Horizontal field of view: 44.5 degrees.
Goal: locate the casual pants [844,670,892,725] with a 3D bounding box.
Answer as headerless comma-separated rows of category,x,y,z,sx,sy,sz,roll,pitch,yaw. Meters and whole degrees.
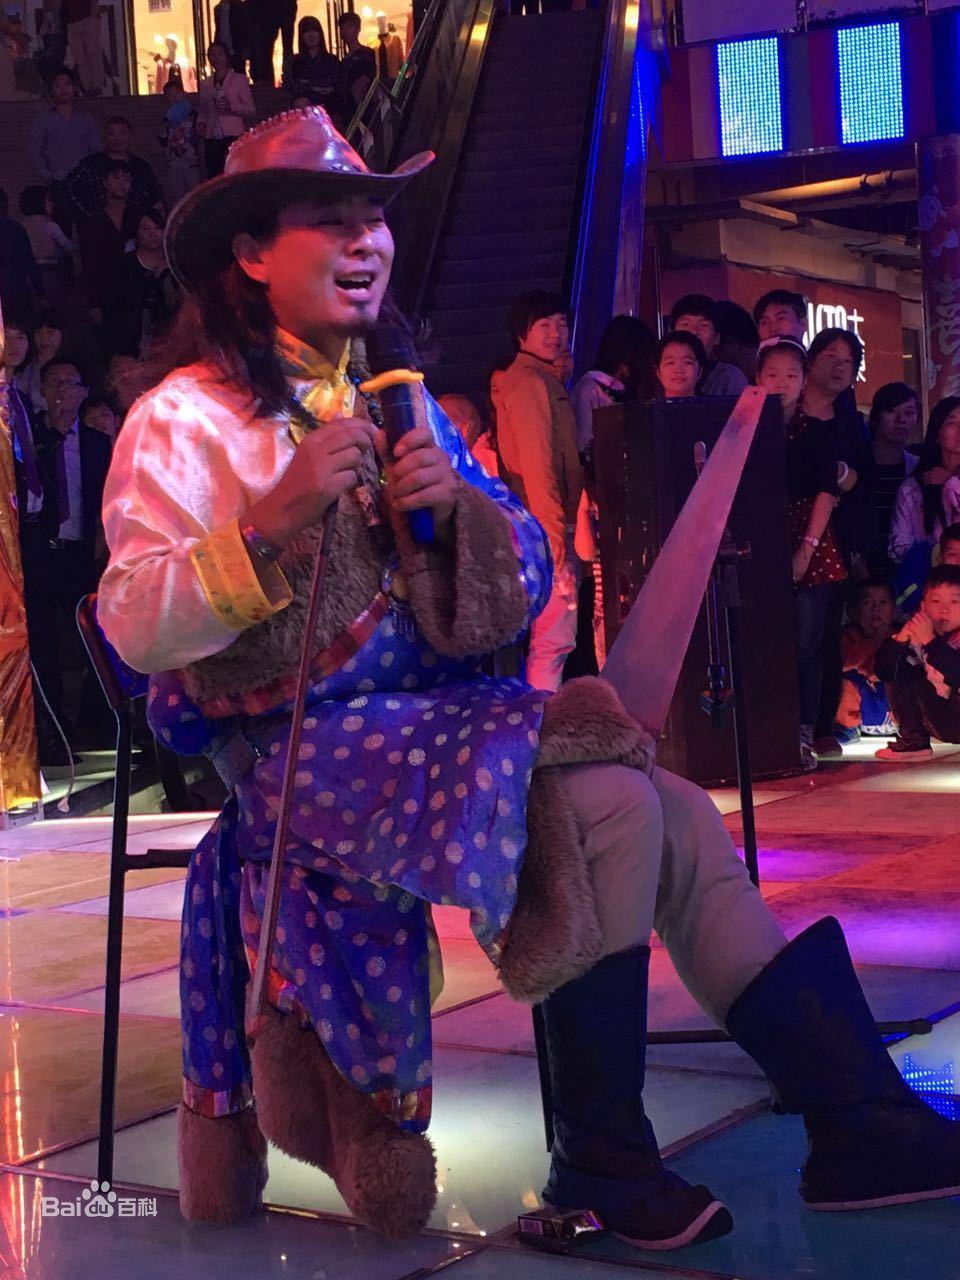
casual pants,1.784,0.264,5.472,0.195,0.293,0.225,-7,11,-7

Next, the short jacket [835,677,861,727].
short jacket,1.697,0.295,5.476,0.152,0.233,0.195,-4,-19,10

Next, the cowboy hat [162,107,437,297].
cowboy hat,-0.231,-0.492,1.317,0.259,0.099,0.219,-23,-2,30

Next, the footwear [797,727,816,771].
footwear,1.330,0.453,4.828,0.091,0.099,0.247,-5,-35,13

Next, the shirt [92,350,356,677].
shirt,-0.290,-0.143,1.203,0.205,0.321,0.232,-7,-1,-2

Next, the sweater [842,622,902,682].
sweater,1.757,0.058,5.424,0.234,0.266,0.126,3,0,11

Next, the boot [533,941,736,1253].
boot,0.129,0.450,1.171,0.194,0.298,0.129,-7,-1,24
